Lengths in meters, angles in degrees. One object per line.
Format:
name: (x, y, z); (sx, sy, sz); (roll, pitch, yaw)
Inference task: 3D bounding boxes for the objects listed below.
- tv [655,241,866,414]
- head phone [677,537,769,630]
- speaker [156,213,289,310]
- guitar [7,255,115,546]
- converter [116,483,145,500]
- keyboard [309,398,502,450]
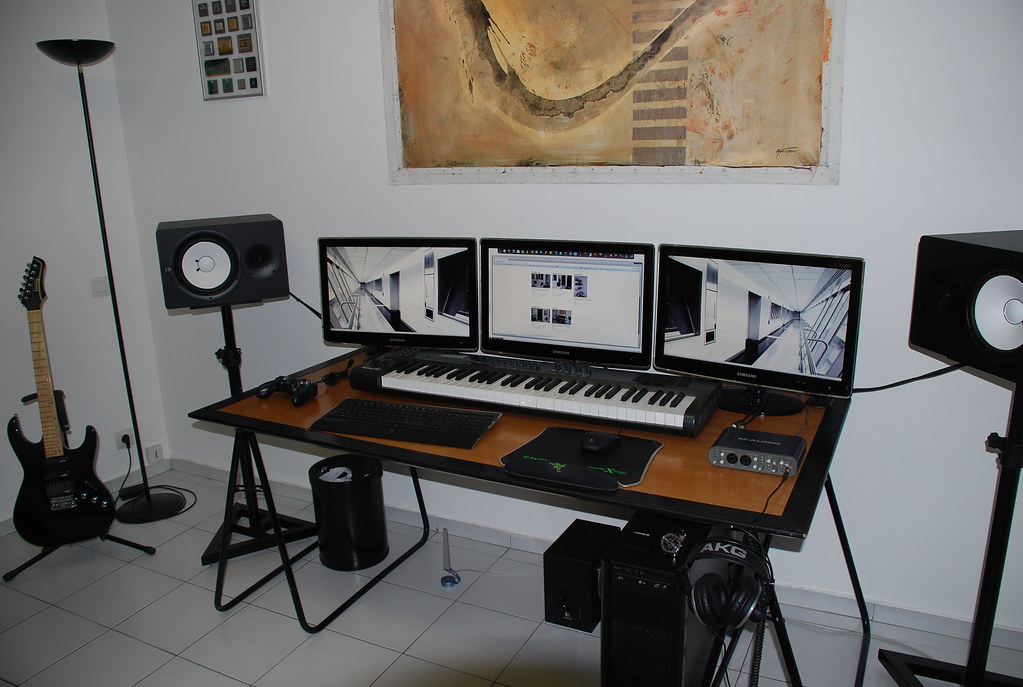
tv: (1.006, -0.062, 3.045); (0.614, 0.535, 0.187); (7, 16, 24)
head phone: (0.733, 0.833, 2.591); (0.267, 0.403, 0.257); (5, 15, 15)
speaker: (-1.352, -0.378, 3.564); (0.696, 0.508, 0.404); (-6, 13, -21)
guitar: (-2.305, 0.316, 3.836); (0.444, 1.440, 0.498); (-5, 16, -21)
converter: (-2.215, 0.866, 4.397); (0.113, 0.032, 0.110); (-1, 24, 12)
keyboard: (-0.434, 0.316, 3.111); (0.737, 0.079, 0.278); (5, 16, 14)
